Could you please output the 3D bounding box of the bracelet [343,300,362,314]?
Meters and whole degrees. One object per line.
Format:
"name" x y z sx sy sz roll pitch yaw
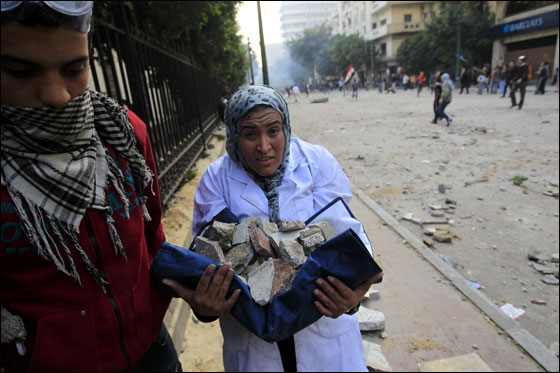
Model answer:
"bracelet" 0.462 0.733 2.221 0.086 0.043 0.116 -33 5 44

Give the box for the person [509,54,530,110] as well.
"person" 8.384 -3.676 12.674 0.466 1.726 0.516 -2 9 -18

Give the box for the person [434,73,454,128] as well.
"person" 5.427 -2.888 11.810 0.505 1.497 2.636 7 21 23

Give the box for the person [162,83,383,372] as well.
"person" -0.011 0.262 2.429 1.146 1.751 1.143 -5 19 -12
